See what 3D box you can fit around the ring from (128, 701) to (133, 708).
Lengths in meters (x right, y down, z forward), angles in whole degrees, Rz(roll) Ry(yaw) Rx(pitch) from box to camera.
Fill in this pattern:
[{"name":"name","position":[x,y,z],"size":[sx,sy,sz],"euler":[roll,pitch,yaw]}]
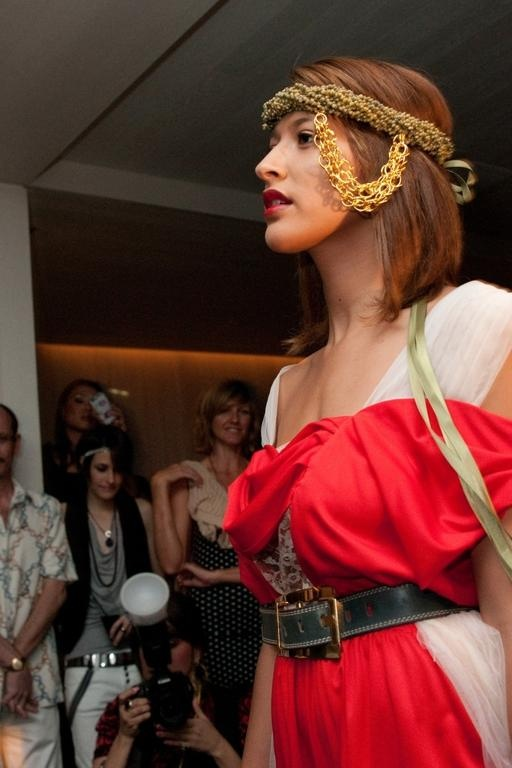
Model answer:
[{"name":"ring","position":[-0.400,1.023,2.073],"size":[0.013,0.020,0.024],"euler":[-2,-4,-23]}]

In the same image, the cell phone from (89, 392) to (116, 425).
[{"name":"cell phone","position":[-0.613,0.099,2.605],"size":[0.085,0.127,0.033],"euler":[-35,-17,23]}]

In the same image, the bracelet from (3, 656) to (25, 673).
[{"name":"bracelet","position":[-0.901,1.052,2.428],"size":[0.060,0.060,0.027],"euler":[-8,9,-22]}]

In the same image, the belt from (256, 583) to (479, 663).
[{"name":"belt","position":[0.126,0.297,0.879],"size":[0.227,0.067,0.246],"euler":[-22,-15,38]}]

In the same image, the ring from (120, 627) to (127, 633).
[{"name":"ring","position":[-0.501,0.927,2.451],"size":[0.017,0.022,0.008],"euler":[-21,-24,33]}]
